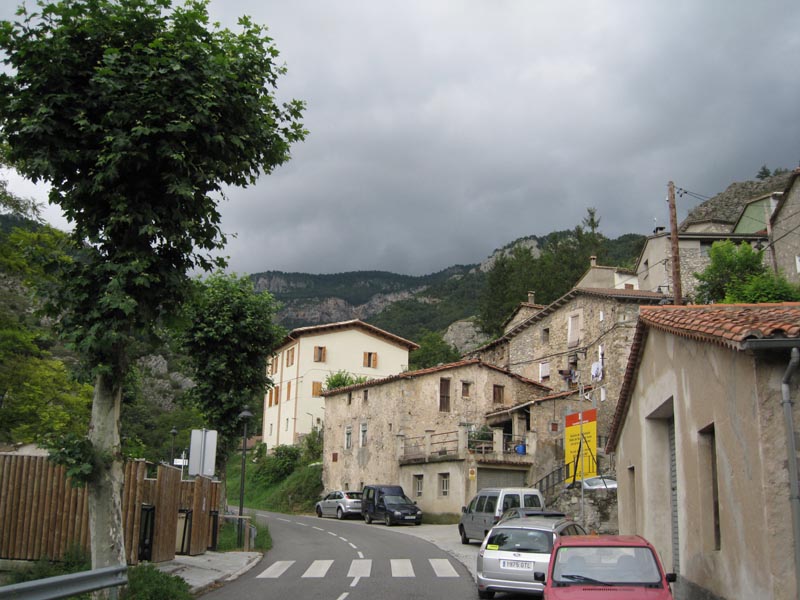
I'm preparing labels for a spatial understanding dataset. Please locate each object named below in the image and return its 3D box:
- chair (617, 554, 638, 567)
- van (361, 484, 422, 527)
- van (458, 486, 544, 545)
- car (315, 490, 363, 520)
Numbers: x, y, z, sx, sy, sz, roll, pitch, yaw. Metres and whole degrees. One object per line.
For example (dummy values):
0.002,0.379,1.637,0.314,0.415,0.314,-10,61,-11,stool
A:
4.227,4.809,15.580,0.243,0.261,0.260,7,-21,-1,chair
-0.482,9.436,38.641,1.685,1.832,2.999,8,-17,-31,van
3.310,7.590,29.702,1.749,1.549,2.866,5,-13,-13,van
-2.910,10.241,41.972,1.227,0.970,2.628,10,-16,-34,car
